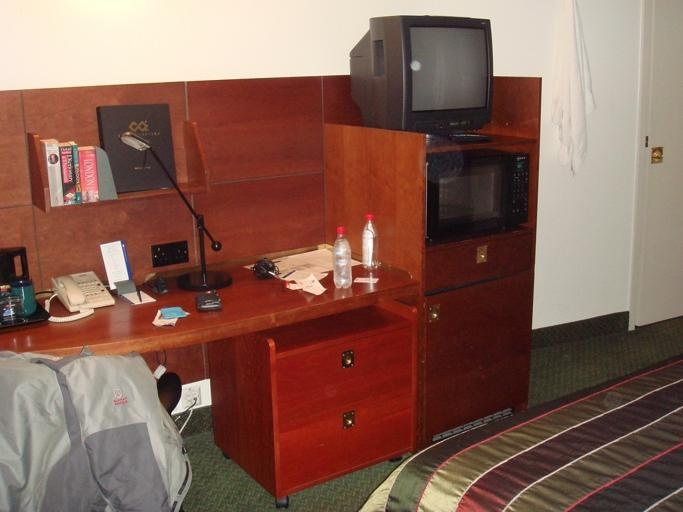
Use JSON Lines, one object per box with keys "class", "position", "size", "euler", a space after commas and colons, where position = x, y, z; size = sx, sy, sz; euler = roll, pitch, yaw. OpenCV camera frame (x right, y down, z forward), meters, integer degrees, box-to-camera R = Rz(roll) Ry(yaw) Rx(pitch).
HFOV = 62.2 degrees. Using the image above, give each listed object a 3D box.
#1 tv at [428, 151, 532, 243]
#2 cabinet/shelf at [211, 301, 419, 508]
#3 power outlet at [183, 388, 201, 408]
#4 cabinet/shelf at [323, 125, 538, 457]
{"class": "tv", "position": [0.669, -0.302, 2.800], "size": [0.397, 0.264, 0.213], "euler": [-11, 16, -38]}
{"class": "cabinet/shelf", "position": [-0.066, 0.499, 2.949], "size": [1.073, 1.076, 0.803], "euler": [-9, 13, -35]}
{"class": "power outlet", "position": [-0.779, 0.735, 2.949], "size": [0.099, 0.104, 0.012], "euler": [-14, 22, -33]}
{"class": "cabinet/shelf", "position": [0.511, 0.040, 3.184], "size": [0.866, 1.632, 0.887], "euler": [-8, 12, -37]}
